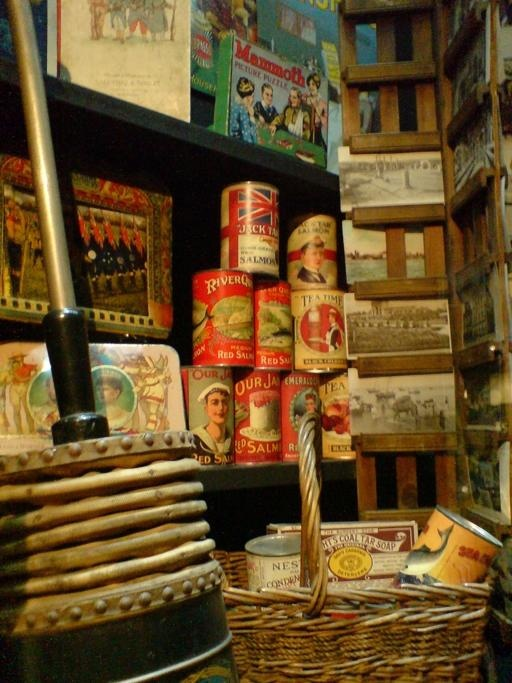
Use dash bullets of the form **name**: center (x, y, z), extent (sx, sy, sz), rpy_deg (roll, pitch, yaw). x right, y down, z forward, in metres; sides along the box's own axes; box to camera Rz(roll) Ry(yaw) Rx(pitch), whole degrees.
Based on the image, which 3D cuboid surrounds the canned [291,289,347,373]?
- **canned**: center (0.118, -0.011, 1.186), extent (0.138, 0.156, 0.142), rpy_deg (-8, -12, 32)

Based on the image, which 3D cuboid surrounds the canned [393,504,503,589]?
- **canned**: center (0.247, 0.250, 0.789), extent (0.107, 0.124, 0.113), rpy_deg (25, -6, 20)

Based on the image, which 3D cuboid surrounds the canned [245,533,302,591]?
- **canned**: center (0.025, 0.301, 0.847), extent (0.084, 0.092, 0.084), rpy_deg (-1, -6, -1)

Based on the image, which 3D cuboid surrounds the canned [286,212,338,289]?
- **canned**: center (0.112, -0.179, 1.202), extent (0.123, 0.143, 0.132), rpy_deg (0, -7, 16)
